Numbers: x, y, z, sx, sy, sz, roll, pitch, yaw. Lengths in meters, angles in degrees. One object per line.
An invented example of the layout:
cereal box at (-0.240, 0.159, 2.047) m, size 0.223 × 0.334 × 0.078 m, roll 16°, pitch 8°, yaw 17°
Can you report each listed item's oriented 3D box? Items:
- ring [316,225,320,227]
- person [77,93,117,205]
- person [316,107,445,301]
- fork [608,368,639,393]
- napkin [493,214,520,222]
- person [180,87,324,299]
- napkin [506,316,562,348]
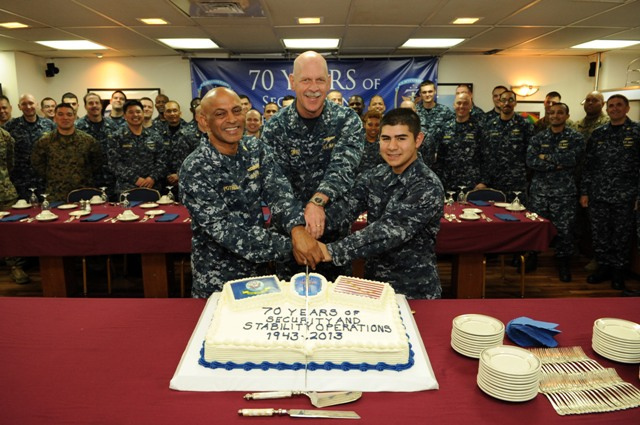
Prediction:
ring at (-0.014, 0.099, 3.930) m, size 0.026 × 0.015 × 0.008 m, roll -3°, pitch 8°, yaw -15°
person at (-3.328, -1.025, 7.959) m, size 0.702 × 0.486 × 1.885 m, roll -9°, pitch -29°, yaw -25°
person at (0.486, -0.055, 3.945) m, size 0.862 × 1.416 × 0.523 m, roll -1°, pitch 8°, yaw 9°
fork at (1.795, 0.998, 3.112) m, size 0.022 × 0.026 × 0.174 m, roll 1°, pitch 30°, yaw -28°
napkin at (1.905, 0.056, 5.352) m, size 0.169 × 0.049 × 0.258 m, roll -2°, pitch 6°, yaw -6°
person at (-0.557, -0.159, 3.925) m, size 0.934 × 1.539 × 0.509 m, roll -2°, pitch 8°, yaw -2°
napkin at (1.344, 0.753, 3.319) m, size 0.216 × 0.088 × 0.204 m, roll 7°, pitch 20°, yaw 7°
